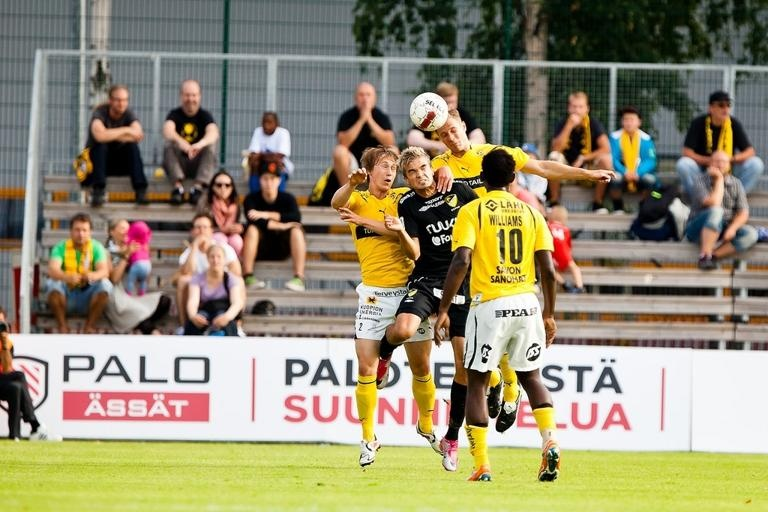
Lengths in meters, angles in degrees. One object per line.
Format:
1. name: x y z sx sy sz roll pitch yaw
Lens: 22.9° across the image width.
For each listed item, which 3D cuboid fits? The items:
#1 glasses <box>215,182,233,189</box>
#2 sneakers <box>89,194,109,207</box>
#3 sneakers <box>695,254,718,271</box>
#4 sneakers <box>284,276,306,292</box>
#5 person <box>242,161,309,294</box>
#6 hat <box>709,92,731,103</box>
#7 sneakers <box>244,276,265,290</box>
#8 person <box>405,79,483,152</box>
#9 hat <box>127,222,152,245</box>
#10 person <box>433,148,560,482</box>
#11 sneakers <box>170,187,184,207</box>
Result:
1. glasses: -2.295 -1.061 27.394 0.234 0.084 0.064 -4 6 -29
2. sneakers: -4.192 -0.831 27.921 0.098 0.239 0.292 -2 -3 -38
3. sneakers: 4.683 0.063 27.492 0.281 0.219 0.137 -1 5 0
4. sneakers: -1.281 0.374 27.339 0.269 0.222 0.229 -1 5 -3
5. person: -1.596 -0.443 27.341 0.895 1.840 0.441 -1 4 -3
6. hat: 4.888 -2.371 27.791 0.175 0.193 0.212 1 -4 -4
7. sneakers: -1.866 0.358 27.247 0.303 0.158 0.142 0 3 20
8. person: 0.628 -1.865 24.682 0.775 0.503 1.137 13 11 -19
9. hat: -3.533 -0.362 27.270 0.280 0.312 0.288 2 17 32
10. person: 1.429 0.716 23.281 1.347 4.107 0.728 -1 4 0
11. sneakers: -3.034 -0.897 27.888 0.223 0.314 0.664 1 -1 -3
